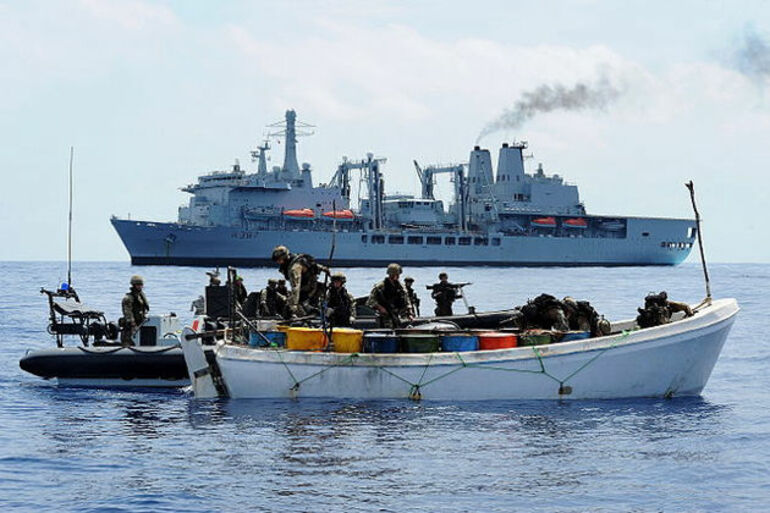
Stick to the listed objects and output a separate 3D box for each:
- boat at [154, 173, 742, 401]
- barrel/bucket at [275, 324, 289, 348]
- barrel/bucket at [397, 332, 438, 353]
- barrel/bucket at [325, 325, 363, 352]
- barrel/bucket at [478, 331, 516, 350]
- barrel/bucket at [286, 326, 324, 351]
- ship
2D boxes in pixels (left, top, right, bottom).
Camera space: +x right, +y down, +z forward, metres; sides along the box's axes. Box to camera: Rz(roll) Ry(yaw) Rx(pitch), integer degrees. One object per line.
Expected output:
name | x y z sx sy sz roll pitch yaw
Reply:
boat | 1.967 0.852 37.765 12.886 5.306 2.396 0 1 1
barrel/bucket | -2.510 1.965 37.532 0.447 0.464 0.447 2 0 0
barrel/bucket | 0.917 2.152 36.956 0.588 0.349 0.590 0 -5 0
barrel/bucket | -0.870 2.050 37.038 0.657 0.381 0.643 1 4 0
barrel/bucket | 2.745 2.057 36.995 0.538 0.521 0.583 1 6 0
barrel/bucket | -1.948 2.024 36.925 0.686 0.335 0.665 2 -6 0
ship | 1.835 -3.188 106.601 40.408 10.863 6.296 1 -2 -9
